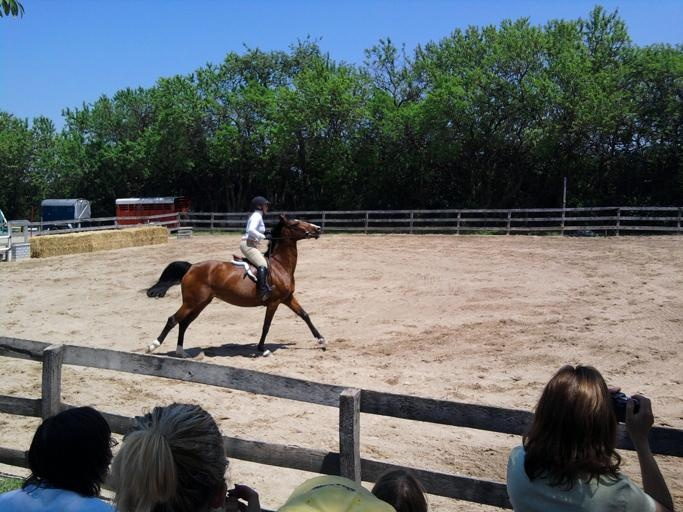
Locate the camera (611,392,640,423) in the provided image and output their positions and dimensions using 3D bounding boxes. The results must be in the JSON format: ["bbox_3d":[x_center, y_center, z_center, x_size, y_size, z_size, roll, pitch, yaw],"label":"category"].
[{"bbox_3d":[1.729,0.908,3.914,0.176,0.189,0.112,15,-12,-38],"label":"camera"}]

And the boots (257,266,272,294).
[{"bbox_3d":[-1.279,0.393,10.779,0.288,0.445,0.190,-4,7,-43],"label":"boots"}]
